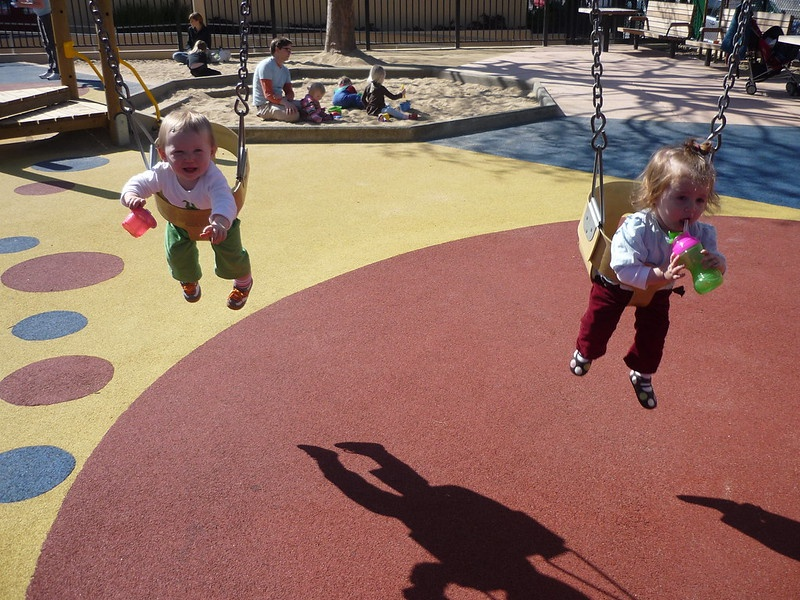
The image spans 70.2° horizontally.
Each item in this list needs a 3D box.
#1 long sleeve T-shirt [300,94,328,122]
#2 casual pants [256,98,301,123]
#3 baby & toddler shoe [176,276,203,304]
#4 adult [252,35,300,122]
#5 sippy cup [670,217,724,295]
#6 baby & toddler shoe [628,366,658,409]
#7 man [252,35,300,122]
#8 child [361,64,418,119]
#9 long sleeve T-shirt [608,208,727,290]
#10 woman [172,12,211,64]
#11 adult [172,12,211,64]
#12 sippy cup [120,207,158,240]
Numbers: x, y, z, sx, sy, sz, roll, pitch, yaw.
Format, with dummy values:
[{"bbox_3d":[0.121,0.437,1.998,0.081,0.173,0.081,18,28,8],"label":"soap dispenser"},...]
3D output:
[{"bbox_3d":[-1.349,-2.929,8.774,0.436,0.320,0.449,-12,53,-8],"label":"long sleeve T-shirt"},{"bbox_3d":[-1.863,-2.891,8.778,0.511,0.244,0.363,-2,25,-2],"label":"casual pants"},{"bbox_3d":[-1.276,-0.087,3.463,0.089,0.093,0.232,-19,43,-17],"label":"baby & toddler shoe"},{"bbox_3d":[-1.846,-3.427,8.926,0.910,1.207,0.814,6,28,-1],"label":"adult"},{"bbox_3d":[1.222,-0.145,2.352,0.194,0.209,0.125,11,27,23],"label":"sippy cup"},{"bbox_3d":[1.198,0.452,2.829,0.091,0.107,0.245,-9,65,0],"label":"baby & toddler shoe"},{"bbox_3d":[-1.793,-3.441,8.972,0.935,1.193,0.856,26,34,34],"label":"man"},{"bbox_3d":[-0.164,-3.396,9.384,1.005,0.920,0.744,12,22,31],"label":"child"},{"bbox_3d":[1.202,-0.219,2.558,0.256,0.347,0.465,21,-11,-15],"label":"long sleeve T-shirt"},{"bbox_3d":[-5.127,-6.417,13.984,0.907,1.158,0.858,4,23,-9],"label":"woman"},{"bbox_3d":[-5.134,-6.402,13.978,0.927,1.160,0.829,6,24,-4],"label":"adult"},{"bbox_3d":[-1.406,-0.417,3.078,0.146,0.206,0.237,-12,27,-24],"label":"sippy cup"}]
